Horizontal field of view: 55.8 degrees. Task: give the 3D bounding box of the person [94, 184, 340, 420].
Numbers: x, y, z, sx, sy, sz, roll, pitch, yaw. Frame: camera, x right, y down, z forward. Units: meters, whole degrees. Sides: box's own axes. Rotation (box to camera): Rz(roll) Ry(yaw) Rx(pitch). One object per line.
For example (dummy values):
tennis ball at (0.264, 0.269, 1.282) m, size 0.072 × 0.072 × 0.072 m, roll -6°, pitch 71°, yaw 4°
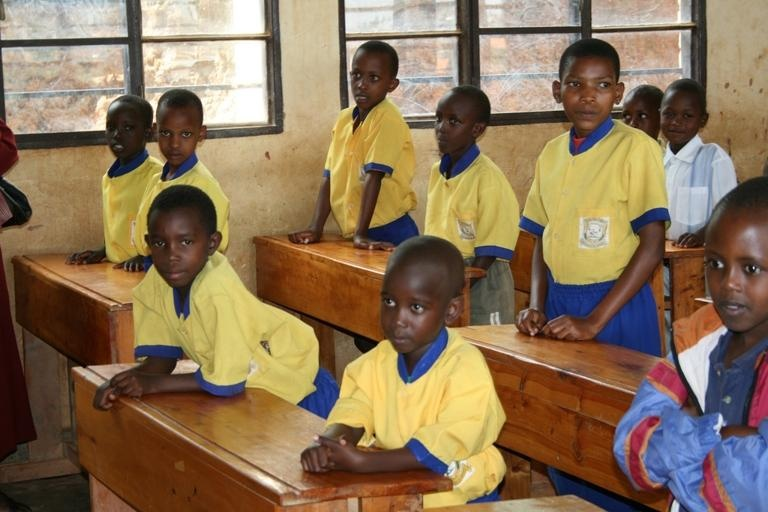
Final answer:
person at (-0.438, 0.125, 2.567) m, size 0.987 × 0.932 × 0.512 m, roll -4°, pitch 9°, yaw -34°
